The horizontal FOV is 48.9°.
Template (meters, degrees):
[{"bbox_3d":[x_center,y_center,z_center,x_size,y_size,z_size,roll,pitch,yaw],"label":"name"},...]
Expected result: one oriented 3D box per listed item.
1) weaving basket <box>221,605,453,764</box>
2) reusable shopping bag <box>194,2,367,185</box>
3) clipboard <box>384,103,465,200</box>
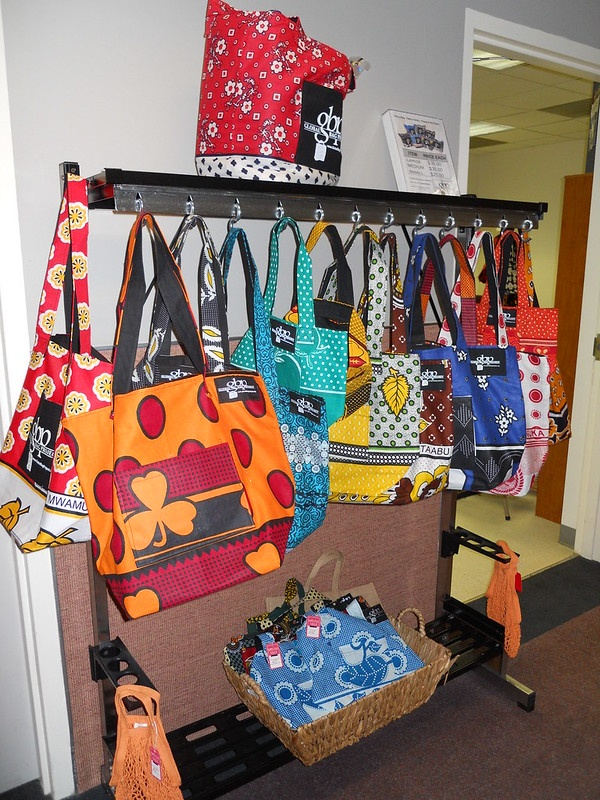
[{"bbox_3d":[0.118,0.621,1.389,0.455,0.155,0.333,-15,19,-30],"label":"weaving basket"},{"bbox_3d":[-0.036,-0.492,1.077,0.260,0.285,0.168,4,10,-5],"label":"reusable shopping bag"},{"bbox_3d":[0.293,-0.591,1.597,0.029,0.193,0.239,-8,6,44],"label":"clipboard"}]
